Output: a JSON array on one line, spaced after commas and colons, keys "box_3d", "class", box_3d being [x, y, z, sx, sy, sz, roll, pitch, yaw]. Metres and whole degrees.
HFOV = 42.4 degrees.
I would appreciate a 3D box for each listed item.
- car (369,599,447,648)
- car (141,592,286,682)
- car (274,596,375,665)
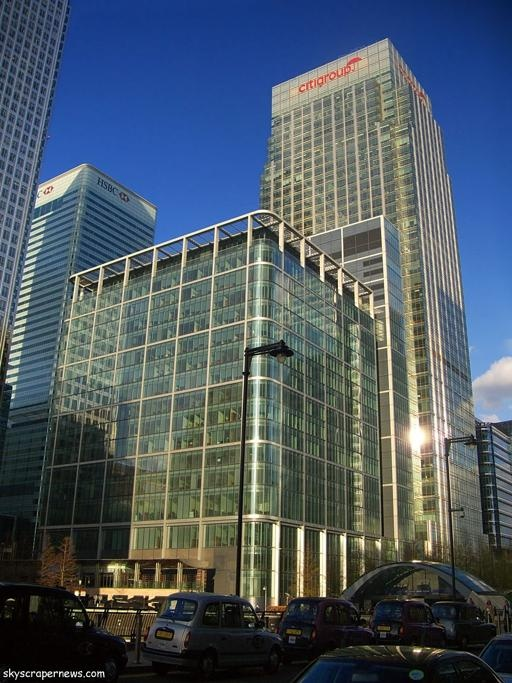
[{"box_3d": [4.995, 9.065, 21.405, 1.709, 1.397, 3.150, -9, -17, 36], "class": "car"}, {"box_3d": [-0.826, 6.534, 14.867, 3.334, 1.355, 1.700, 18, -27, -42], "class": "car"}, {"box_3d": [1.926, 7.903, 18.257, 1.753, 1.456, 3.116, -12, -26, 39], "class": "car"}]
